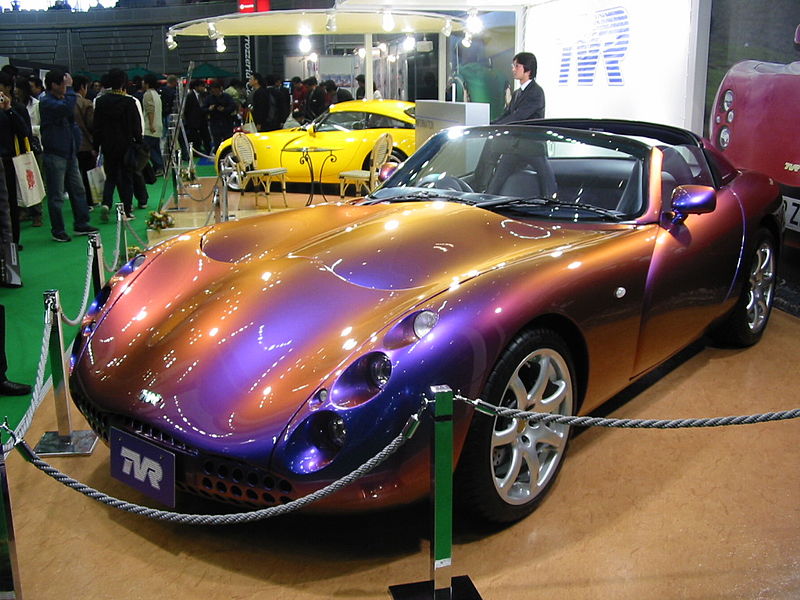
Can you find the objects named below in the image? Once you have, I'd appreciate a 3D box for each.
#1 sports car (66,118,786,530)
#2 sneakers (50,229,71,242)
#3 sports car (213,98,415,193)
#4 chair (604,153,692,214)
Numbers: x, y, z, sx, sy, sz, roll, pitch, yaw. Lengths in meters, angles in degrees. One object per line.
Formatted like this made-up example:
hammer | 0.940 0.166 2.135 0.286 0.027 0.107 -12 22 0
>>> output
sports car | 0.278 -0.178 3.165 3.666 1.277 1.609 -15 21 -33
sneakers | -4.465 -0.825 7.979 0.294 0.136 0.123 8 18 40
sports car | -1.304 -2.762 10.645 3.224 1.354 1.853 3 18 11
chair | 1.482 -0.670 3.529 0.624 0.251 0.349 -25 35 -32
